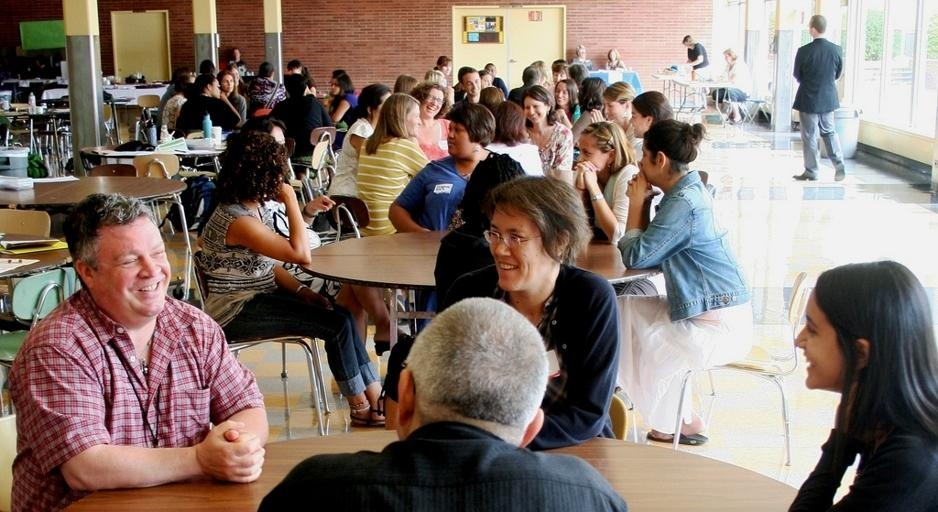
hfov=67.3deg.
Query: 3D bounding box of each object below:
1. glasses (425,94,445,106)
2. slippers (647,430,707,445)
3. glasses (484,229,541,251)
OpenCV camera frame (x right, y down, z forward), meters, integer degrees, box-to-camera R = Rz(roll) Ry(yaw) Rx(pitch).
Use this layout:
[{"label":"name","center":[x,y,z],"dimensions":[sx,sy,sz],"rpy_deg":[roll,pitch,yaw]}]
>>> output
[{"label":"glasses","center":[-0.374,-1.654,7.443],"dimensions":[0.167,0.044,0.154],"rpy_deg":[1,-8,-12]},{"label":"slippers","center":[1.241,1.090,4.245],"dimensions":[0.363,0.093,0.131],"rpy_deg":[0,5,8]},{"label":"glasses","center":[0.168,-0.067,2.823],"dimensions":[0.187,0.065,0.051],"rpy_deg":[6,12,30]}]
